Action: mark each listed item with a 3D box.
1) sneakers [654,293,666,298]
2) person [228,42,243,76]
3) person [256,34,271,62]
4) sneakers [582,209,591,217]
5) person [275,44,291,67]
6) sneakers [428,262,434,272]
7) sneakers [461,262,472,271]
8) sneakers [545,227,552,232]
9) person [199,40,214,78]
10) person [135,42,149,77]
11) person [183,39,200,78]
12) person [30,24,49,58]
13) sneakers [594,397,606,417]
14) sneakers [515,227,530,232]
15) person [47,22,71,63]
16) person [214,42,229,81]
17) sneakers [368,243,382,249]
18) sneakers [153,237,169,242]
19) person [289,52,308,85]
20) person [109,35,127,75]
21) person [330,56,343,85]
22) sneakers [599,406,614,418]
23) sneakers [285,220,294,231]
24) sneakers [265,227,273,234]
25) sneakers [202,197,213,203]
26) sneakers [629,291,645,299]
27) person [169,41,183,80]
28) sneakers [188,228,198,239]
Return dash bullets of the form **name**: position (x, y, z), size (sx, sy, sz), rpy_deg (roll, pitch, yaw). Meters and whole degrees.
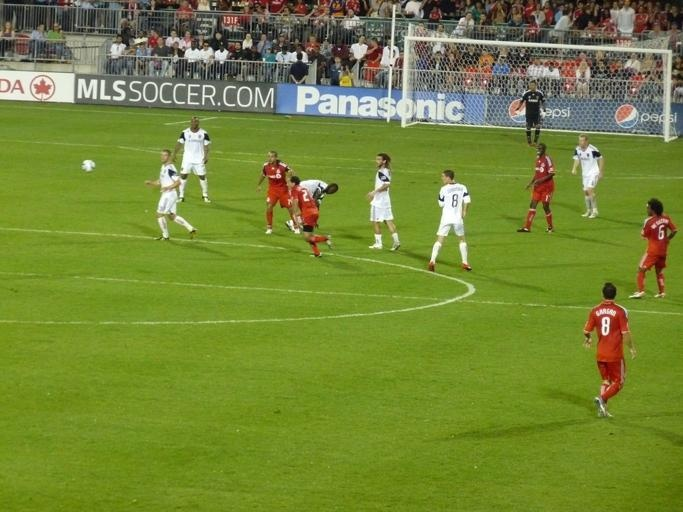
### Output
- **sneakers**: position (7.265, 0.883, 26.845), size (0.093, 0.098, 0.241), rpy_deg (-16, 11, -38)
- **person**: position (-4.741, -8.866, 53.347), size (0.547, 1.515, 1.618), rpy_deg (1, 8, -6)
- **person**: position (-3.448, -9.487, 53.605), size (0.642, 1.256, 1.500), rpy_deg (1, 8, -4)
- **sneakers**: position (7.120, -1.241, 34.147), size (0.272, 0.169, 0.108), rpy_deg (3, 19, 26)
- **person**: position (-2.561, -9.149, 53.189), size (0.711, 0.699, 0.476), rpy_deg (4, 8, 16)
- **sneakers**: position (2.171, 0.257, 28.234), size (0.165, 0.246, 0.117), rpy_deg (-6, 37, -7)
- **sneakers**: position (3.091, 0.227, 28.714), size (0.323, 0.212, 0.103), rpy_deg (-11, 39, -22)
- **sneakers**: position (5.743, -0.741, 32.541), size (0.146, 0.153, 0.387), rpy_deg (0, -2, 12)
- **person**: position (-5.984, -8.760, 52.869), size (0.598, 1.609, 1.045), rpy_deg (1, 8, -8)
- **person**: position (-8.906, -8.926, 53.161), size (0.599, 1.494, 0.779), rpy_deg (1, 8, -9)
- **person**: position (-6.624, -8.844, 52.895), size (0.752, 1.719, 1.235), rpy_deg (1, 8, -8)
- **person**: position (-14.035, -9.909, 54.675), size (0.718, 1.586, 0.677), rpy_deg (0, 8, -14)
- **sneakers**: position (4.540, 2.626, 20.587), size (0.178, 0.353, 0.146), rpy_deg (-16, 8, -4)
- **sneakers**: position (5.022, -0.733, 32.342), size (0.336, 0.122, 0.120), rpy_deg (4, 14, 11)
- **person**: position (-13.126, -9.930, 54.903), size (1.056, 1.664, 1.264), rpy_deg (-2, 9, -26)
- **person**: position (-5.339, -8.776, 52.992), size (0.658, 1.619, 0.980), rpy_deg (1, 8, -7)
- **sneakers**: position (0.901, -0.257, 30.200), size (0.293, 0.118, 0.125), rpy_deg (3, 5, 28)
- **sneakers**: position (-4.548, -0.437, 30.033), size (0.123, 0.155, 0.389), rpy_deg (-3, -4, -43)
- **person**: position (-1.857, -8.461, 52.538), size (0.806, 1.480, 0.519), rpy_deg (2, 8, -2)
- **person**: position (-10.136, -9.157, 53.648), size (0.718, 1.708, 1.214), rpy_deg (0, 8, -10)
- **person**: position (-0.137, -8.275, 52.678), size (0.658, 1.186, 0.283), rpy_deg (7, 10, 35)
- **sneakers**: position (4.614, 2.725, 20.571), size (0.162, 0.097, 0.217), rpy_deg (1, -4, 43)
- **sneakers**: position (-1.300, -0.817, 30.906), size (0.170, 0.208, 0.484), rpy_deg (3, 14, -33)
- **sneakers**: position (-1.922, -0.674, 31.373), size (0.220, 0.194, 0.103), rpy_deg (7, 11, 19)
- **sneakers**: position (-3.887, -1.640, 34.409), size (0.192, 0.203, 0.538), rpy_deg (-6, 5, -27)
- **sneakers**: position (6.724, 0.869, 26.648), size (0.302, 0.108, 0.158), rpy_deg (-4, 8, -21)
- **person**: position (-7.358, -8.826, 53.068), size (0.601, 1.585, 1.125), rpy_deg (1, 8, -8)
- **sneakers**: position (-3.725, -0.570, 29.913), size (0.125, 0.195, 0.303), rpy_deg (10, -33, -28)
